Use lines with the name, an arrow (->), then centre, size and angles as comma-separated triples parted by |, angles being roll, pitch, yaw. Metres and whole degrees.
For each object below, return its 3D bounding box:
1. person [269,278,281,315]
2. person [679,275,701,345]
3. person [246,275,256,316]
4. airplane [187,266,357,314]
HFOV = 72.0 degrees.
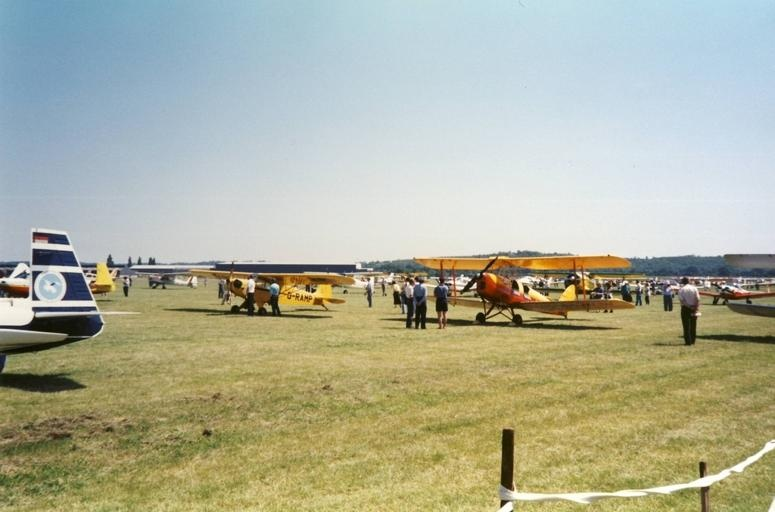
person -> -4.939, 1.791, 23.280 | 0.405, 1.482, 1.204 | -1, 2, -13
person -> 8.396, 1.502, 14.889 | 0.456, 1.853, 1.456 | 1, 2, 28
person -> -5.851, 1.681, 22.927 | 0.372, 1.651, 1.353 | -1, 2, -15
airplane -> -4.945, 1.791, 24.374 | 5.818, 2.224, 7.435 | -1, 2, -12
